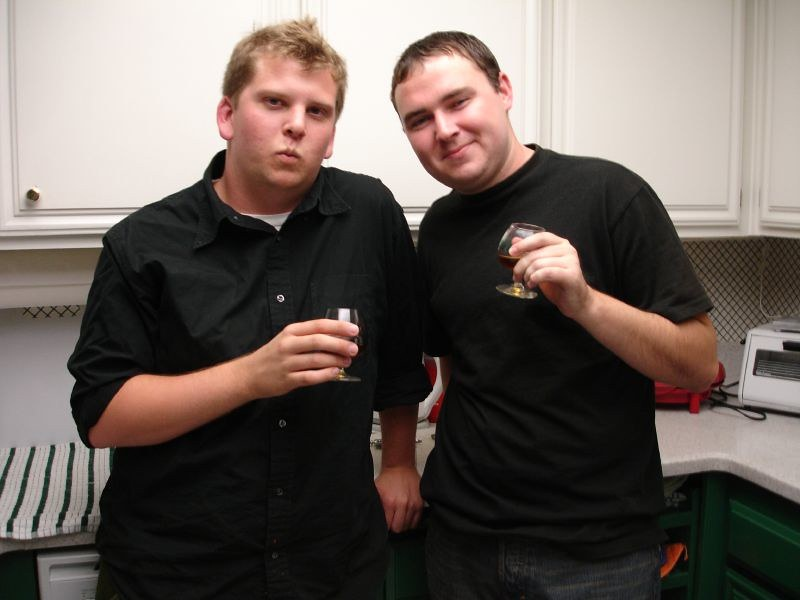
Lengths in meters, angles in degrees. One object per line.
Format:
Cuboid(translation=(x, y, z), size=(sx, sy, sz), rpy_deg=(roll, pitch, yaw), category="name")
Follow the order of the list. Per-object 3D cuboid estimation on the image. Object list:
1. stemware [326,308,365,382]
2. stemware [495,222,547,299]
Cuboid(translation=(-0.132, 0.117, 1.532), size=(0.076, 0.209, 0.230), rpy_deg=(-3, 6, -6), category="stemware")
Cuboid(translation=(0.273, -0.088, 1.546), size=(0.103, 0.186, 0.199), rpy_deg=(-1, 6, 7), category="stemware")
